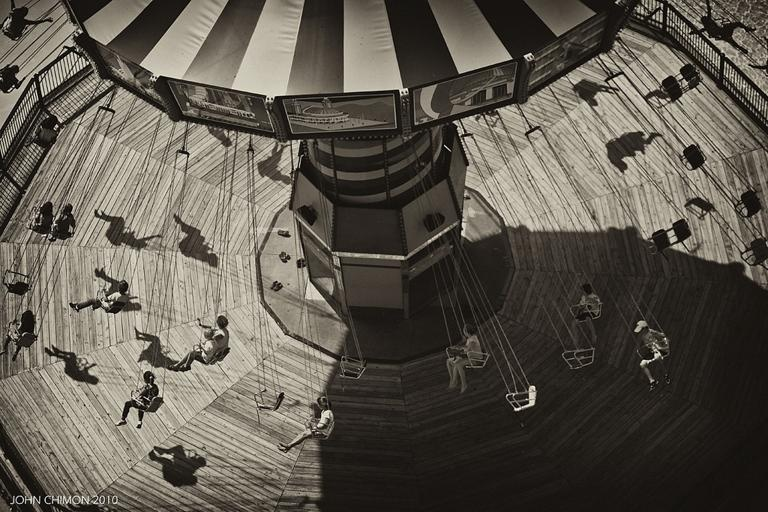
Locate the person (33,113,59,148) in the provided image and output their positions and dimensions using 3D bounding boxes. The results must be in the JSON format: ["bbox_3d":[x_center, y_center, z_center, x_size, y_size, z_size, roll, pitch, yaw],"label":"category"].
[{"bbox_3d":[-12.507,-4.583,32.635,0.514,0.965,0.944,14,-47,-20],"label":"person"}]

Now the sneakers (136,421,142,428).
[{"bbox_3d":[-8.145,5.634,29.373,0.111,0.288,0.119,5,-50,-9],"label":"sneakers"}]

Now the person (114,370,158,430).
[{"bbox_3d":[-8.105,4.682,29.157,0.991,0.918,1.898,13,-86,-15],"label":"person"}]

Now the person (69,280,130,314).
[{"bbox_3d":[-9.831,1.448,30.824,1.784,1.127,1.335,7,-79,17],"label":"person"}]

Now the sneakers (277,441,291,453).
[{"bbox_3d":[-3.300,6.280,29.038,0.226,0.123,0.226,47,-38,-2],"label":"sneakers"}]

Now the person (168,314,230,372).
[{"bbox_3d":[-6.391,3.093,30.382,1.295,0.756,1.533,11,-50,-7],"label":"person"}]
